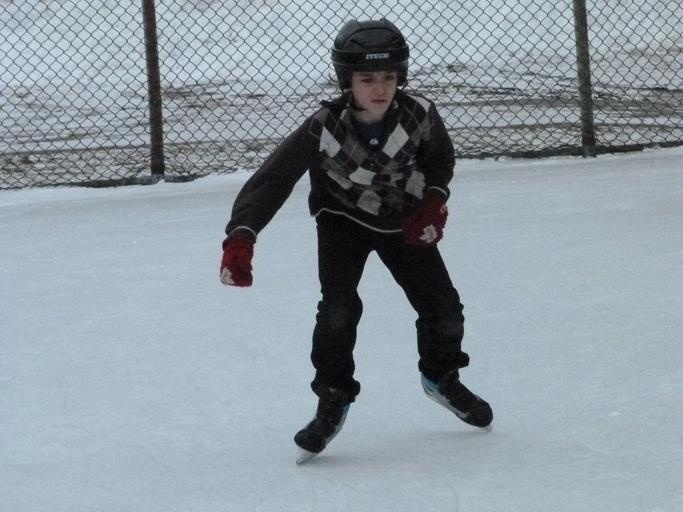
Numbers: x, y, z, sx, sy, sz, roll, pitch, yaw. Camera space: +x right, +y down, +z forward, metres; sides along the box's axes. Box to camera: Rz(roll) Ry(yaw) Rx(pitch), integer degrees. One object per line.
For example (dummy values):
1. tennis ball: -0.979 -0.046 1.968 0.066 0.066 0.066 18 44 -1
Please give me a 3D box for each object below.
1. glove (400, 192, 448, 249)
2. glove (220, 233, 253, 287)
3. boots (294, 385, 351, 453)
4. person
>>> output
1. glove: 0.280 -0.117 2.982 0.147 0.161 0.065 -2 18 -40
2. glove: -0.319 0.015 2.848 0.103 0.172 0.095 -3 10 -4
3. boots: -0.050 0.515 2.914 0.163 0.223 0.177 23 -22 0
4. person: 0.038 -0.078 3.006 0.834 1.367 0.447 -3 11 -8
